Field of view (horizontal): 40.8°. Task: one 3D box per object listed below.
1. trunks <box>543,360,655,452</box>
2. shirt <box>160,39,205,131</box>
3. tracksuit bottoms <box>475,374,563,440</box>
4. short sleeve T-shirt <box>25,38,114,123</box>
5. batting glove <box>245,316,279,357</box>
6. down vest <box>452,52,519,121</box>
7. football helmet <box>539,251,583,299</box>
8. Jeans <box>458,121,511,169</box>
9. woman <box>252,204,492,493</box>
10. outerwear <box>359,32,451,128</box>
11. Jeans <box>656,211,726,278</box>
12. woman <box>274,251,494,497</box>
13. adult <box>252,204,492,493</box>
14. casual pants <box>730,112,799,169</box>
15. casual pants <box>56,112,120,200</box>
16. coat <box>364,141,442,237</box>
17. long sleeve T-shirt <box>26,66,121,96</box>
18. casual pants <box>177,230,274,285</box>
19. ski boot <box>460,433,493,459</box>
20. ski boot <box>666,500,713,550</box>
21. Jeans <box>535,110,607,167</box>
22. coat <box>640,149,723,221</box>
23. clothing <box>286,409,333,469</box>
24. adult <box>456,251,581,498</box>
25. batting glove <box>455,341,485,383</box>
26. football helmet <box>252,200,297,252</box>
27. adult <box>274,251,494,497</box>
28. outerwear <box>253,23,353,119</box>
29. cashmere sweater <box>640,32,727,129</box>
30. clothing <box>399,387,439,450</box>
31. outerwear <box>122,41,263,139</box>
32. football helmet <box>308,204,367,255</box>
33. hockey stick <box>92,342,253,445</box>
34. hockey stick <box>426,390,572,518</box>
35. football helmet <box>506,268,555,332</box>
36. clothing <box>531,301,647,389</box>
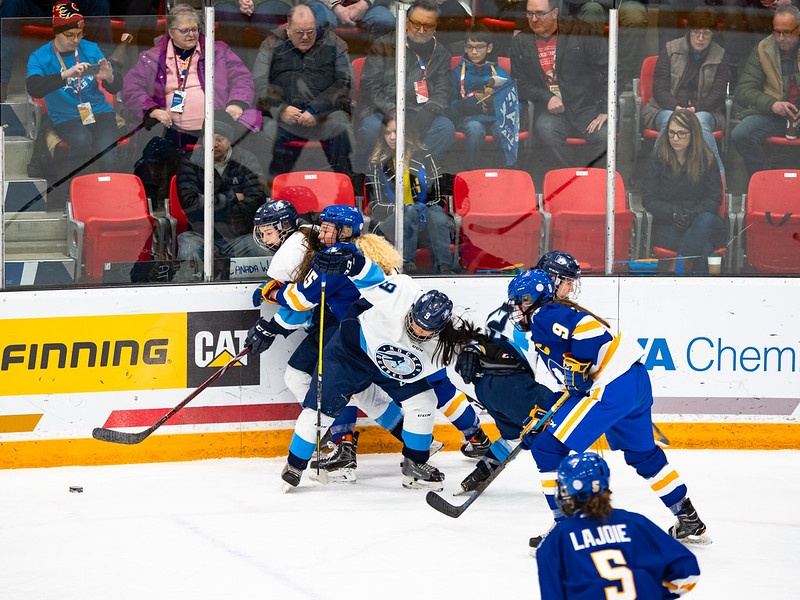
[{"bbox_3d":[1.106,0.587,5.952,0.545,0.482,0.214,0,42,-30],"label":"trunks"},{"bbox_3d":[-1.412,-1.395,7.057,0.283,0.562,0.192,0,2,-9],"label":"shirt"},{"bbox_3d":[0.741,0.652,6.648,0.222,0.363,0.376,-46,0,-28],"label":"tracksuit bottoms"},{"bbox_3d":[-2.216,-1.496,7.281,0.380,0.445,0.249,-23,29,-15],"label":"short sleeve T-shirt"},{"bbox_3d":[-0.907,0.234,7.123,0.156,0.264,0.097,31,14,-21],"label":"batting glove"},{"bbox_3d":[0.557,-1.429,7.331,0.417,0.448,0.251,-2,16,-1],"label":"down vest"},{"bbox_3d":[0.970,-0.157,6.494,0.270,0.274,0.225,22,18,-2],"label":"football helmet"},{"bbox_3d":[0.571,-1.063,7.344,0.311,0.320,0.112,-4,3,-13],"label":"Jeans"},{"bbox_3d":[-0.099,0.331,6.810,1.408,2.065,1.077,-10,24,-16],"label":"woman"},{"bbox_3d":[0.067,-1.512,7.321,0.583,0.443,0.733,0,-31,-4],"label":"outerwear"},{"bbox_3d":[2.010,-0.411,7.412,0.292,0.536,0.203,2,14,-12],"label":"Jeans"},{"bbox_3d":[-0.054,0.470,6.887,1.222,1.603,0.782,6,21,-17],"label":"woman"},{"bbox_3d":[-0.052,0.150,7.598,1.695,2.152,1.260,-10,19,-29],"label":"adult"},{"bbox_3d":[2.514,-1.116,7.319,0.400,0.431,0.152,10,-7,-6],"label":"casual pants"},{"bbox_3d":[-2.030,-0.924,7.076,0.358,0.574,0.819,0,7,-5],"label":"casual pants"},{"bbox_3d":[0.068,-0.640,7.285,0.525,0.787,0.426,-2,-10,-19],"label":"coat"},{"bbox_3d":[-2.263,-1.433,7.281,0.380,0.149,0.302,-3,34,5],"label":"long sleeve T-shirt"},{"bbox_3d":[-1.196,-0.274,7.231,0.489,0.319,0.180,0,4,-10],"label":"casual pants"},{"bbox_3d":[0.516,0.979,7.180,0.209,0.073,0.151,16,-25,41],"label":"ski boot"},{"bbox_3d":[1.627,1.269,6.141,0.104,0.237,0.318,-19,2,-31],"label":"ski boot"},{"bbox_3d":[1.162,-1.149,7.518,0.372,0.505,0.420,-1,15,-3],"label":"Jeans"},{"bbox_3d":[1.902,-0.758,7.545,0.619,0.658,0.404,0,3,1],"label":"coat"},{"bbox_3d":[-0.584,0.875,6.835,0.208,0.407,0.139,20,-7,-7],"label":"clothing"},{"bbox_3d":[0.801,0.513,6.833,0.829,1.559,0.607,6,-2,19],"label":"adult"},{"bbox_3d":[0.448,0.387,6.791,0.174,0.244,0.098,-32,24,-34],"label":"batting glove"},{"bbox_3d":[-0.800,-0.508,7.074,0.318,0.330,0.237,-17,20,-21],"label":"football helmet"},{"bbox_3d":[-0.038,0.481,6.889,1.184,1.603,0.766,8,20,-15],"label":"adult"},{"bbox_3d":[-0.643,-1.496,7.323,0.671,0.770,0.436,3,19,5],"label":"outerwear"},{"bbox_3d":[2.052,-1.518,7.544,0.547,0.715,0.521,12,8,19],"label":"cashmere sweater"},{"bbox_3d":[0.149,0.727,6.868,0.298,0.551,0.391,0,-3,7],"label":"clothing"},{"bbox_3d":[-1.356,-1.430,7.121,0.898,0.602,0.268,0,9,-16],"label":"outerwear"},{"bbox_3d":[-0.369,-0.463,6.926,0.302,0.313,0.253,3,4,-8],"label":"football helmet"},{"bbox_3d":[-1.561,0.617,7.186,1.055,0.227,0.089,-34,12,-5],"label":"hockey stick"},{"bbox_3d":[0.613,0.944,6.539,0.184,0.801,0.240,39,-17,10],"label":"hockey stick"},{"bbox_3d":[0.748,0.002,6.073,0.305,0.356,0.263,1,9,22],"label":"football helmet"},{"bbox_3d":[1.001,0.233,5.886,0.510,0.224,0.515,31,-29,13],"label":"clothing"}]
